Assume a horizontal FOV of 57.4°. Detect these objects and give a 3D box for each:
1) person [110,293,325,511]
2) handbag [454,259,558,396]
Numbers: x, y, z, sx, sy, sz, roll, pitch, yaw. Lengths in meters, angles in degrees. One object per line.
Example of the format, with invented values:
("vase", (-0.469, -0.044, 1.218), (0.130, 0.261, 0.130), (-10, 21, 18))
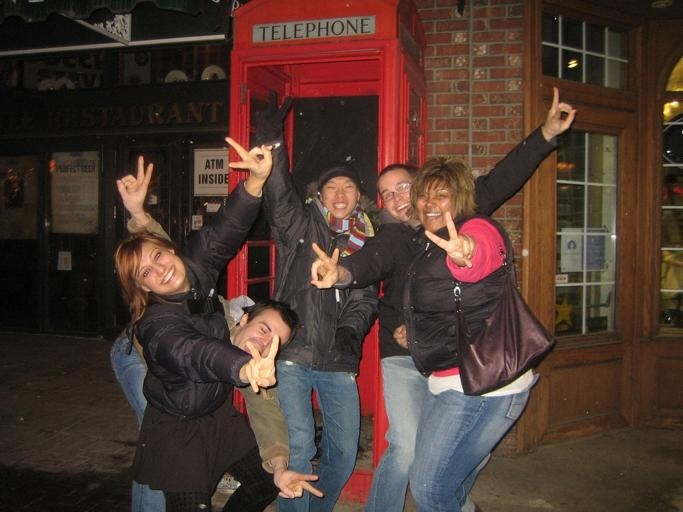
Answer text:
("person", (-0.851, 0.727, 4.597), (1.077, 1.904, 0.662), (-13, -7, 11))
("handbag", (0.991, 0.448, 3.822), (0.569, 0.778, 0.212), (-1, 9, -6))
